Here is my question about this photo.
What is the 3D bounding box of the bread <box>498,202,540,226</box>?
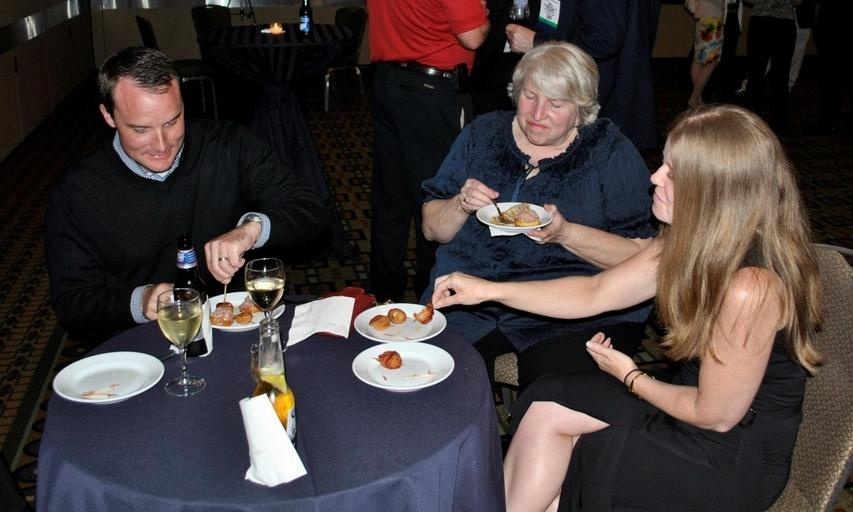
[{"bbox_3d":[0.411,-0.179,2.567,0.123,0.048,0.123,2,22,6],"label":"bread"}]

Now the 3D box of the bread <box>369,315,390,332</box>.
[{"bbox_3d":[-0.186,0.260,2.304,0.061,0.019,0.062,-7,55,-19],"label":"bread"}]

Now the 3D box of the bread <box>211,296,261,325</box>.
[{"bbox_3d":[-0.775,0.196,2.315,0.134,0.040,0.134,8,18,17],"label":"bread"}]

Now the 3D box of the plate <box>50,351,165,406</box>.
[{"bbox_3d":[-1.135,0.432,2.067,0.225,0.031,0.217,-3,32,-16],"label":"plate"}]

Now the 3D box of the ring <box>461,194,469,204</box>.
[{"bbox_3d":[0.179,-0.270,2.702,0.034,0.011,0.033,-2,30,1],"label":"ring"}]

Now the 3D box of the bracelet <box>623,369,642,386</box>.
[{"bbox_3d":[0.819,0.483,2.326,0.019,0.067,0.067,31,0,-3],"label":"bracelet"}]

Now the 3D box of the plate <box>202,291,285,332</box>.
[{"bbox_3d":[-0.750,0.214,2.372,0.207,0.035,0.191,-6,31,-11],"label":"plate"}]

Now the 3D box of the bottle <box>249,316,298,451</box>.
[{"bbox_3d":[-0.479,0.396,1.789,0.116,0.382,0.227,-14,38,-17],"label":"bottle"}]

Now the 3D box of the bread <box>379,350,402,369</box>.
[{"bbox_3d":[-0.133,0.380,2.130,0.065,0.028,0.065,0,33,-8],"label":"bread"}]

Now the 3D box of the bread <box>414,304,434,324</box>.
[{"bbox_3d":[-0.011,0.237,2.342,0.058,0.028,0.087,40,79,13],"label":"bread"}]

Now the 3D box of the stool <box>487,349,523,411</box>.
[{"bbox_3d":[0.434,0.578,2.893,0.232,0.300,0.319,4,68,8],"label":"stool"}]
